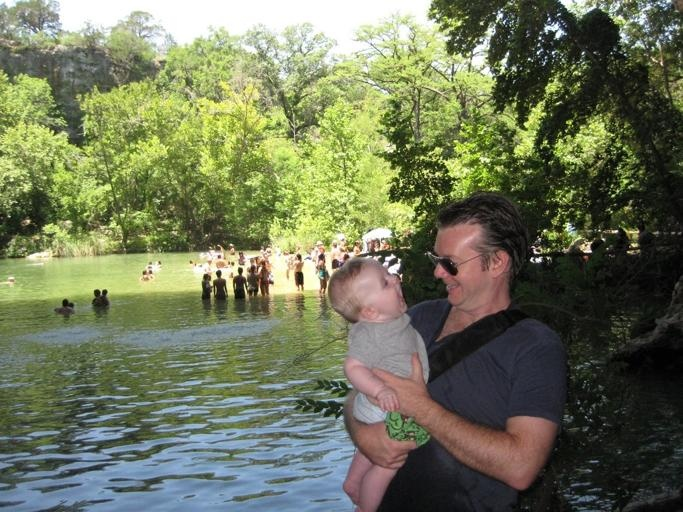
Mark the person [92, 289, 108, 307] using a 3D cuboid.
[{"bbox_3d":[-12.745,2.285,30.871,0.512,0.703,0.911,-1,31,-5],"label":"person"}]

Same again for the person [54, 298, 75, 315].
[{"bbox_3d":[-13.108,2.364,27.689,0.811,0.603,1.040,-4,28,-19],"label":"person"}]

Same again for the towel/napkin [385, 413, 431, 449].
[{"bbox_3d":[0.414,1.092,3.646,0.283,0.172,0.074,6,16,14],"label":"towel/napkin"}]
